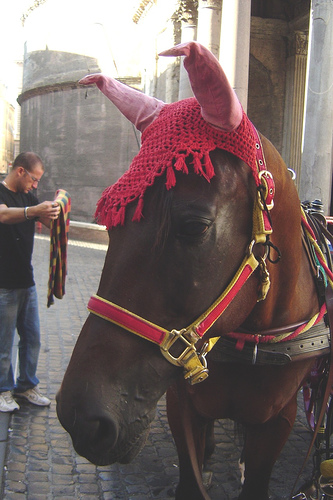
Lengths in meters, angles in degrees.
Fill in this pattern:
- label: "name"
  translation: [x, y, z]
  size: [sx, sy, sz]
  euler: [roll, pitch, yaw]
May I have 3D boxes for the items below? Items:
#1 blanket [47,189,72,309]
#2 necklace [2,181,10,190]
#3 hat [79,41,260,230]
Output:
- label: "blanket"
  translation: [-0.811, 0.014, 4.356]
  size: [0.140, 0.929, 0.731]
  euler: [3, 7, -10]
- label: "necklace"
  translation: [-1.199, -0.480, 4.327]
  size: [0.028, 0.050, 0.055]
  euler: [-3, 9, -44]
- label: "hat"
  translation: [0.040, -0.440, 2.031]
  size: [0.652, 0.656, 0.561]
  euler: [-8, 15, -32]
